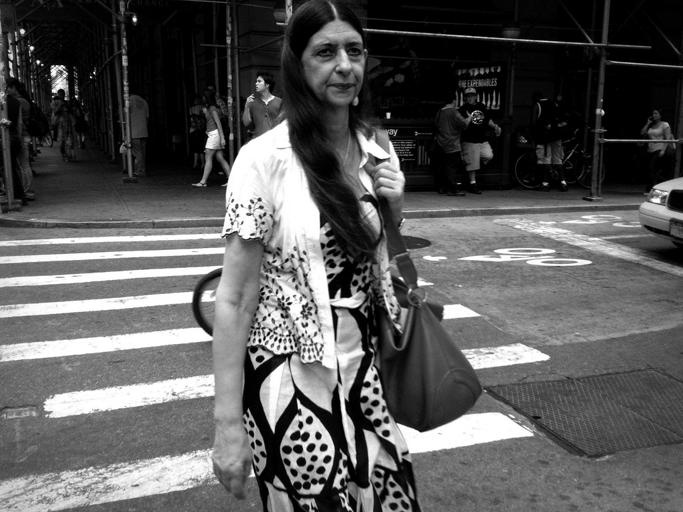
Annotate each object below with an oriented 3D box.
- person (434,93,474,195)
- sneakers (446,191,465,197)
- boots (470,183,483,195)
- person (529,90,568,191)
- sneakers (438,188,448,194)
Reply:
[{"bbox_3d":[3.169,-3.141,16.011,0.904,2.604,0.558,5,13,21],"label":"person"},{"bbox_3d":[3.433,-1.839,16.100,0.405,0.179,0.239,-3,10,-19],"label":"sneakers"},{"bbox_3d":[4.141,-2.082,16.811,0.199,0.462,0.624,8,30,23],"label":"boots"},{"bbox_3d":[6.545,-3.528,17.010,0.973,2.911,1.306,12,17,41],"label":"person"},{"bbox_3d":[3.051,-1.971,16.402,0.136,0.181,0.408,-1,7,4],"label":"sneakers"}]
